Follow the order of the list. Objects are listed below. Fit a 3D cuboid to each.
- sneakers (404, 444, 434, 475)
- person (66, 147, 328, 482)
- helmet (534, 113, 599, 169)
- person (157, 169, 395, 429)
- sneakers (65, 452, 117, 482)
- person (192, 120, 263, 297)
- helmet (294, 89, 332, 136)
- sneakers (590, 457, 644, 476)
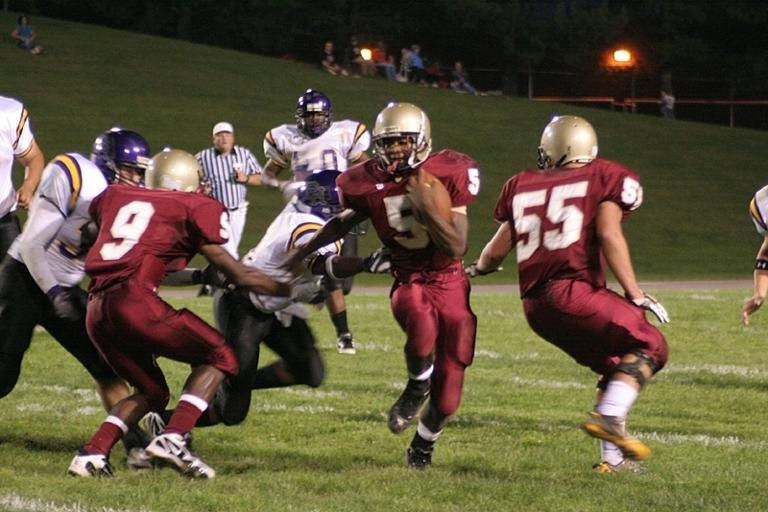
[{"bbox_3d":[0.327,1.869,10.890,0.235,0.182,0.138,5,5,2],"label":"sneakers"},{"bbox_3d":[-2.035,0.692,10.692,1.496,2.619,0.676,5,5,-11],"label":"person"},{"bbox_3d":[1.826,-1.086,11.021,0.663,0.427,0.483,13,15,32],"label":"helmet"},{"bbox_3d":[-1.244,0.415,11.606,1.292,2.340,1.430,0,3,0],"label":"person"},{"bbox_3d":[-2.641,1.890,10.539,0.409,0.183,0.154,-1,1,-22],"label":"sneakers"},{"bbox_3d":[-2.170,-0.676,16.020,1.323,2.041,0.844,-2,2,-19],"label":"person"},{"bbox_3d":[-0.771,-1.624,13.155,0.503,0.432,0.518,-5,21,-1],"label":"helmet"},{"bbox_3d":[2.147,1.937,10.786,0.511,0.149,0.145,-5,-1,7],"label":"sneakers"}]
